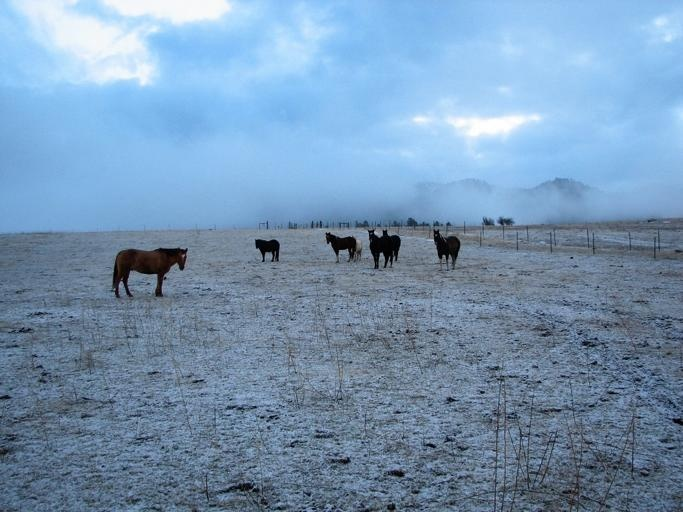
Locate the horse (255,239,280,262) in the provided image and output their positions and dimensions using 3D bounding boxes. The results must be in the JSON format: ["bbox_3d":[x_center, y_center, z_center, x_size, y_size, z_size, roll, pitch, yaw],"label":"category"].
[{"bbox_3d":[-3.722,-0.249,31.575,1.104,1.046,1.537,-2,3,-15],"label":"horse"}]

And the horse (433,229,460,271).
[{"bbox_3d":[4.546,-0.180,26.547,0.574,1.680,2.014,3,0,39],"label":"horse"}]

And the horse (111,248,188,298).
[{"bbox_3d":[-6.136,0.528,19.633,2.074,1.492,1.403,-2,3,-21],"label":"horse"}]

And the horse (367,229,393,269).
[{"bbox_3d":[1.762,-0.249,27.489,0.567,1.687,2.057,-4,-7,39],"label":"horse"}]
